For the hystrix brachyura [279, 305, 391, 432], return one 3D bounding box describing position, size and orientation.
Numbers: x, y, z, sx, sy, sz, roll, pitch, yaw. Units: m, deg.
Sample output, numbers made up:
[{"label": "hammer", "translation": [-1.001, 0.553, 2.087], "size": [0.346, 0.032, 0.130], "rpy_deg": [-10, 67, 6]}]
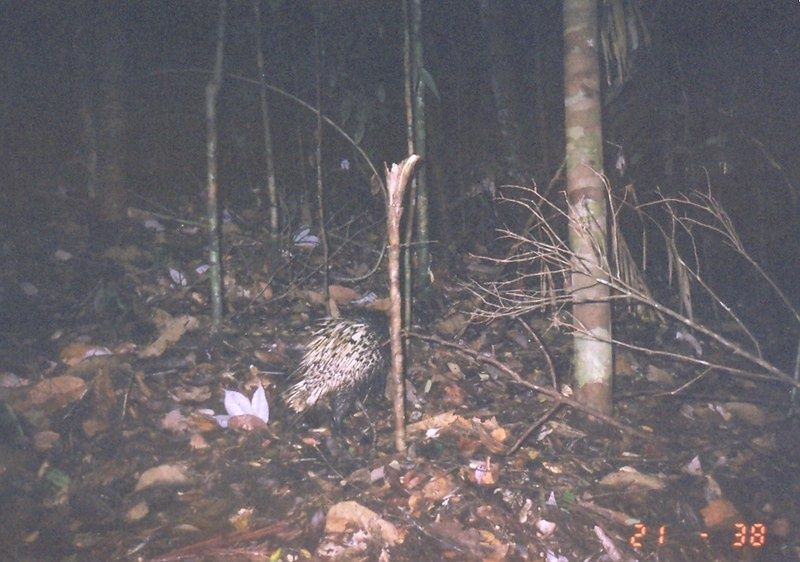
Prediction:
[{"label": "hystrix brachyura", "translation": [-0.388, 0.566, 5.458], "size": [0.608, 0.510, 0.419], "rpy_deg": [5, 19, 3]}]
